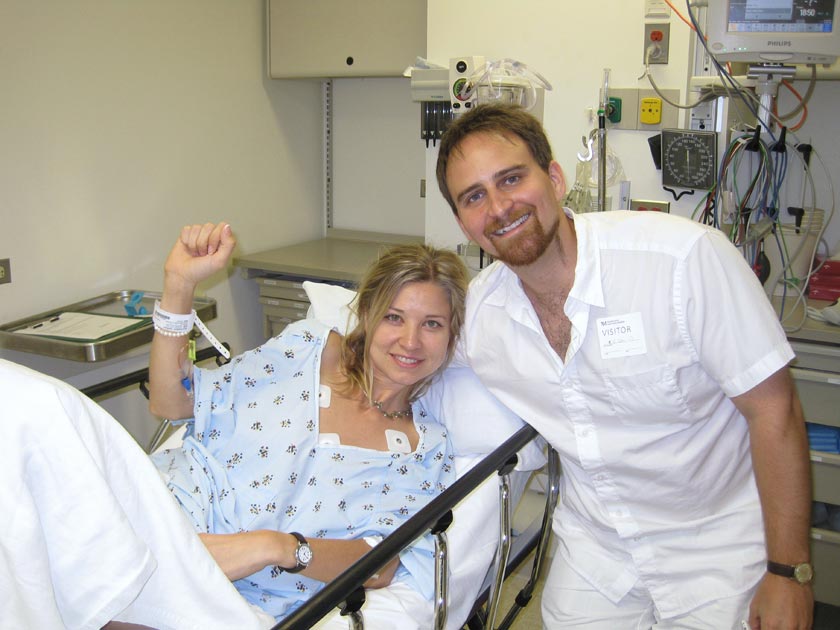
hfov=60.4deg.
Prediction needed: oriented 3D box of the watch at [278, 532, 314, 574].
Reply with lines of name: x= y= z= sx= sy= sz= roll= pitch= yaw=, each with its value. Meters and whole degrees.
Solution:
watch: x=-0.320 y=0.631 z=1.920 sx=0.048 sy=0.088 sz=0.077 roll=13 pitch=-15 yaw=-37

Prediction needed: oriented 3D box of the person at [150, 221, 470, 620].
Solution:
person: x=-0.315 y=0.233 z=2.229 sx=0.929 sy=1.060 sz=0.677 roll=-12 pitch=14 yaw=-34

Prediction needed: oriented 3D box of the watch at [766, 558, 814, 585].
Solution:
watch: x=0.958 y=0.646 z=1.863 sx=0.084 sy=0.063 sz=0.098 roll=5 pitch=1 yaw=-1

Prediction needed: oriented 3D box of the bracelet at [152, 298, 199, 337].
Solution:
bracelet: x=-0.717 y=-0.001 z=2.121 sx=0.092 sy=0.062 sz=0.099 roll=10 pitch=10 yaw=-4

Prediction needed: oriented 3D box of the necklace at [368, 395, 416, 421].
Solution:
necklace: x=-0.077 y=0.310 z=2.341 sx=0.085 sy=0.093 sz=0.016 roll=14 pitch=21 yaw=6
